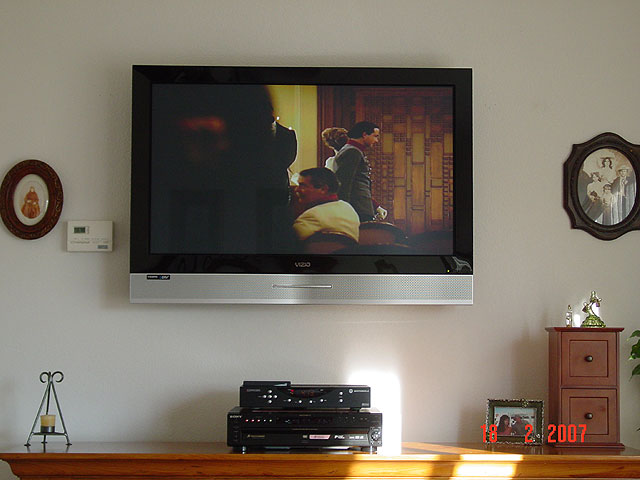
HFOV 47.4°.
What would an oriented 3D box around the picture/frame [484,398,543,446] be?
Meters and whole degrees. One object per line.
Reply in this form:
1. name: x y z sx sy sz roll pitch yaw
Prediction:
1. picture/frame: 1.002 0.941 3.751 0.227 0.192 0.019 1 -9 7
